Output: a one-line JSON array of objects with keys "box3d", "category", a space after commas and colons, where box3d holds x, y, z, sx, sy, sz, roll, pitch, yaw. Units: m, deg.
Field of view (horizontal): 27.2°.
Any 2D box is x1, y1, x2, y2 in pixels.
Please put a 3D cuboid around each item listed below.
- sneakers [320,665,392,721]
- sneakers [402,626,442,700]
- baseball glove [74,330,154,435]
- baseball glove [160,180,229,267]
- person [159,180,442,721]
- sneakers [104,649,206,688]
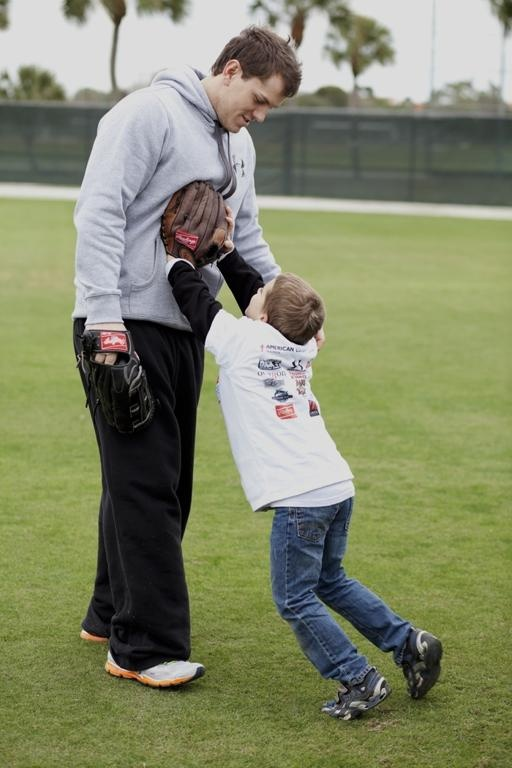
[{"box3d": [0.214, 0.700, 2.410, 0.193, 0.101, 0.070, -36, 23, 37], "category": "sneakers"}, {"box3d": [0.373, 0.630, 2.383, 0.083, 0.184, 0.067, 6, 31, 12], "category": "sneakers"}, {"box3d": [-0.344, -0.011, 2.464, 0.209, 0.250, 0.184, 3, 13, 13], "category": "baseball glove"}, {"box3d": [-0.132, -0.379, 2.533, 0.188, 0.230, 0.092, 8, -12, 7], "category": "baseball glove"}, {"box3d": [0.093, 0.131, 2.495, 0.376, 1.186, 0.761, -11, 17, -40], "category": "person"}, {"box3d": [-0.241, 0.686, 2.566, 0.211, 0.097, 0.083, -2, -8, 17], "category": "sneakers"}]
